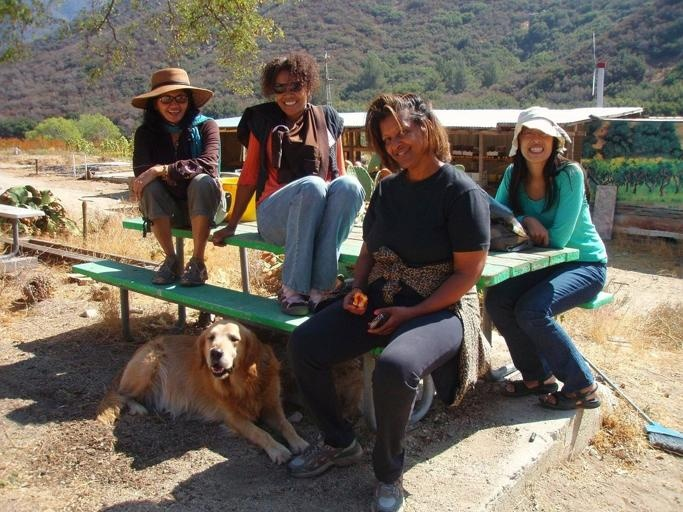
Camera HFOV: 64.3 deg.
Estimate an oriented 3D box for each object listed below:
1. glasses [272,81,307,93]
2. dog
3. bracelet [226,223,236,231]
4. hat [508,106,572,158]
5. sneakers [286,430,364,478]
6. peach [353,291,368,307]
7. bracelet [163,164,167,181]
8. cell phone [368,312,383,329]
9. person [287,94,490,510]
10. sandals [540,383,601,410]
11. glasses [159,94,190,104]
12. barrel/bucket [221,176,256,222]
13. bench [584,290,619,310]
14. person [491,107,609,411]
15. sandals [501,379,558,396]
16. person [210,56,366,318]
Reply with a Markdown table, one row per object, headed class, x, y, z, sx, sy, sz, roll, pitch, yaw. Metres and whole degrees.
| class | x | y | z | sx | sy | sz | roll | pitch | yaw |
| --- | --- | --- | --- | --- | --- | --- | --- | --- | --- |
| glasses | -0.418 | -1.354 | 4.354 | 0.228 | 0.090 | 0.057 | -1 | 13 | 0 |
| dog | -1.064 | 0.902 | 4.272 | 1.853 | 0.908 | 1.056 | 5 | 7 | 35 |
| bracelet | -0.917 | -0.241 | 4.529 | 0.052 | 0.055 | 0.054 | -4 | 12 | -15 |
| hat | 1.597 | -1.068 | 4.398 | 0.391 | 0.321 | 0.486 | 9 | -14 | 8 |
| sneakers | -0.114 | 1.321 | 3.662 | 0.543 | 0.267 | 0.190 | -14 | 27 | -17 |
| peach | 0.118 | 0.277 | 3.465 | 0.080 | 0.084 | 0.081 | -1 | 5 | -32 |
| bracelet | -1.507 | -0.724 | 4.657 | 0.032 | 0.094 | 0.065 | 5 | 0 | -26 |
| cell phone | 0.218 | 0.403 | 3.374 | 0.101 | 0.025 | 0.077 | -40 | 21 | -14 |
| person | 0.364 | 0.231 | 3.478 | 0.991 | 2.473 | 1.168 | 9 | 17 | 37 |
| sandals | 1.713 | 1.054 | 4.114 | 0.425 | 0.188 | 0.191 | 0 | 11 | 10 |
| glasses | -1.481 | -1.403 | 4.834 | 0.241 | 0.082 | 0.103 | -8 | 15 | -28 |
| barrel/bucket | -1.000 | -0.559 | 5.263 | 0.415 | 0.385 | 0.471 | 0 | 11 | -2 |
| bench | 2.324 | 0.403 | 4.857 | 0.317 | 0.069 | 0.164 | -16 | 18 | -41 |
| person | 1.598 | 0.012 | 4.215 | 0.898 | 2.270 | 0.928 | 2 | 13 | 10 |
| sandals | 1.496 | 1.070 | 4.344 | 0.317 | 0.110 | 0.187 | 0 | 2 | 7 |
| person | -0.271 | -0.632 | 4.391 | 1.189 | 2.059 | 1.018 | -3 | 3 | -30 |
